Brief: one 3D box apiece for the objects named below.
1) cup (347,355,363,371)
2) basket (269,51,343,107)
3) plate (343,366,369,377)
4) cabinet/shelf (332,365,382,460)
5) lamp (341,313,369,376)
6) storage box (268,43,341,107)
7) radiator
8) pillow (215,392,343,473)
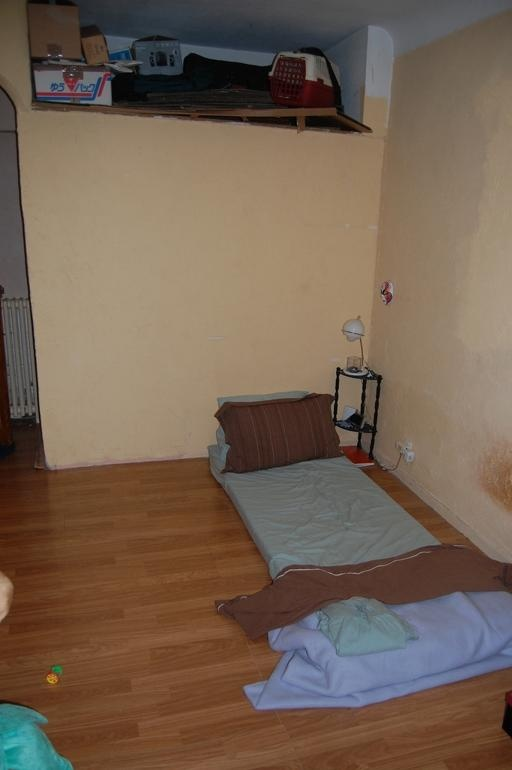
[{"bbox_3d":[0.693,-0.143,4.179,0.099,0.102,0.098,-2,24,1],"label":"cup"},{"bbox_3d":[0.302,-1.876,3.674,0.267,0.291,0.459,17,24,24],"label":"basket"},{"bbox_3d":[0.708,-0.089,4.148,0.204,0.044,0.241,-1,14,-8],"label":"plate"},{"bbox_3d":[0.724,0.217,4.244,0.288,0.619,0.281,3,10,4],"label":"cabinet/shelf"},{"bbox_3d":[0.696,-0.282,4.157,0.185,0.385,0.413,3,14,9],"label":"lamp"},{"bbox_3d":[0.312,-1.872,3.669,0.273,0.302,0.453,21,25,27],"label":"storage box"},{"bbox_3d":[-1.873,-0.180,4.669,0.200,1.015,0.259,-6,16,-23],"label":"radiator"},{"bbox_3d":[0.173,0.308,3.785,0.757,0.489,0.231,-8,5,-13],"label":"pillow"}]
